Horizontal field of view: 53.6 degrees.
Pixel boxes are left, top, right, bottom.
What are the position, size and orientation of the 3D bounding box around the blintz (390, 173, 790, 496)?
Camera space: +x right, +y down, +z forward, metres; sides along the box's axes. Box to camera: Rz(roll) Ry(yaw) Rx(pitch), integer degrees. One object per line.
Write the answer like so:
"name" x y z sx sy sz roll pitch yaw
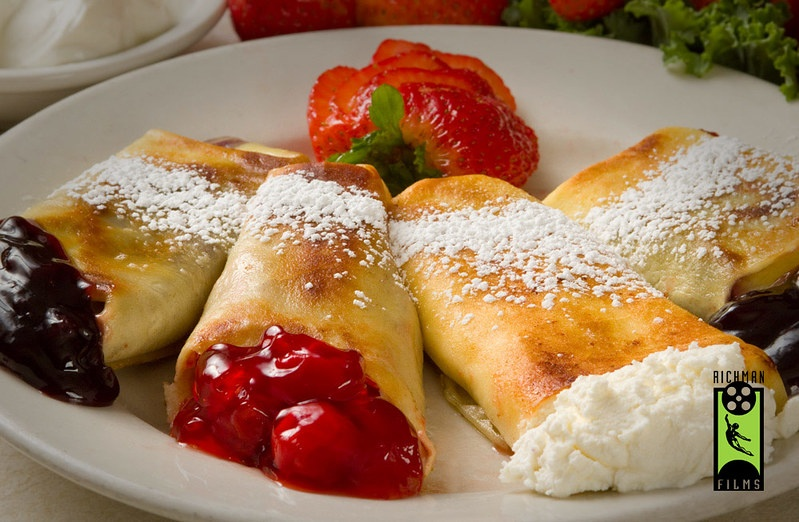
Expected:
"blintz" 0.227 0.096 1.258 0.378 0.170 0.539 -21 42 -17
